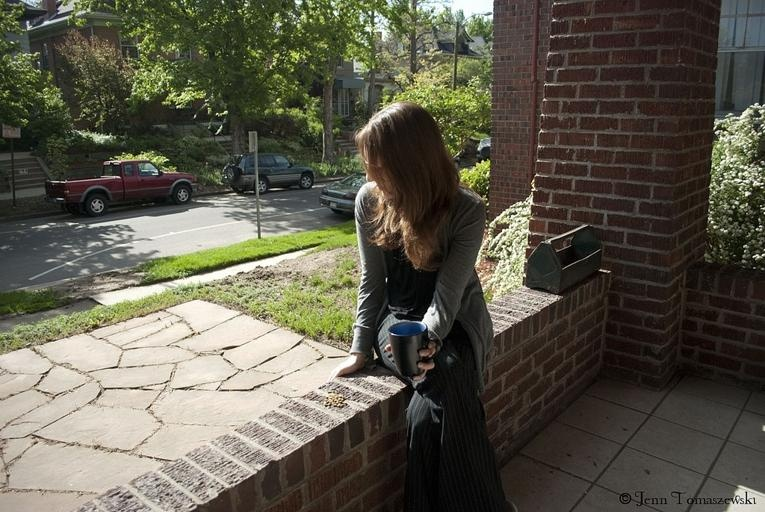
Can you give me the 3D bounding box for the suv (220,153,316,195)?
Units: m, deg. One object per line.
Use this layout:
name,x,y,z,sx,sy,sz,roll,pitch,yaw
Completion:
suv,-5.138,-3.816,23.374,1.468,1.994,3.734,11,23,43

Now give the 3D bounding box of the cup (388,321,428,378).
cup,0.139,0.498,2.754,0.197,0.281,0.312,-1,5,11
